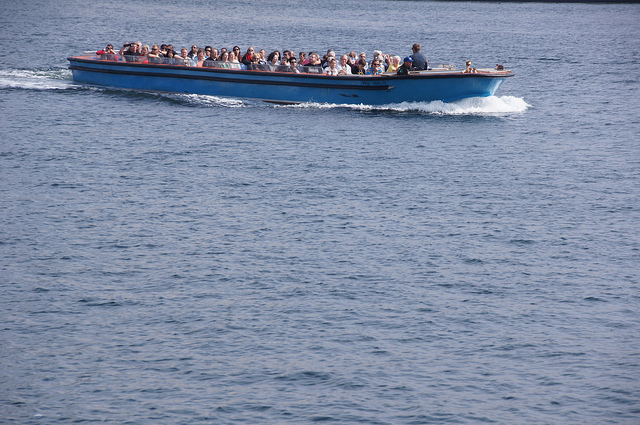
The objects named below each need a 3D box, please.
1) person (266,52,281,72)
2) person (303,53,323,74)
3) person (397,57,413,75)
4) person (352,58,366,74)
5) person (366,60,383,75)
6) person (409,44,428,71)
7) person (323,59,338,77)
[{"bbox_3d":[-2.204,-7.272,61.331,0.687,0.846,1.069,4,30,-4],"label":"person"},{"bbox_3d":[-0.276,-7.211,61.139,0.997,0.895,1.245,6,29,0],"label":"person"},{"bbox_3d":[4.032,-6.890,59.943,0.616,0.740,0.801,8,31,2],"label":"person"},{"bbox_3d":[1.886,-6.963,60.531,0.580,0.901,0.396,4,36,-4],"label":"person"},{"bbox_3d":[2.639,-6.886,60.641,0.787,0.664,0.660,6,32,0],"label":"person"},{"bbox_3d":[4.736,-7.368,59.940,0.868,1.519,0.949,8,34,0],"label":"person"},{"bbox_3d":[0.567,-6.907,60.751,0.649,0.670,0.853,5,30,-2],"label":"person"}]
